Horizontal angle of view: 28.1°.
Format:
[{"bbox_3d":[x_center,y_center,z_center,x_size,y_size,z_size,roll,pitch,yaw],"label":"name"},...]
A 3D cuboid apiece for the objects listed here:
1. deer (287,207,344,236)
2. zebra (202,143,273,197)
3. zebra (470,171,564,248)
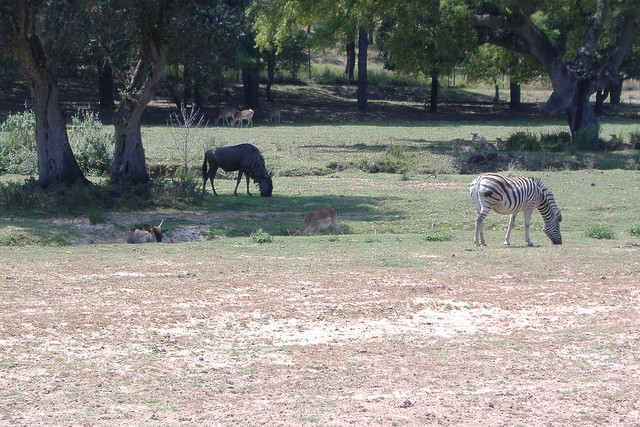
[{"bbox_3d":[-0.074,0.506,51.594,2.238,1.196,0.533,-12,-2,18],"label":"deer"},{"bbox_3d":[-3.680,-1.890,56.602,3.013,2.329,1.396,-1,4,-1],"label":"zebra"},{"bbox_3d":[7.820,-0.192,49.659,3.272,2.819,3.840,1,5,23],"label":"zebra"}]
